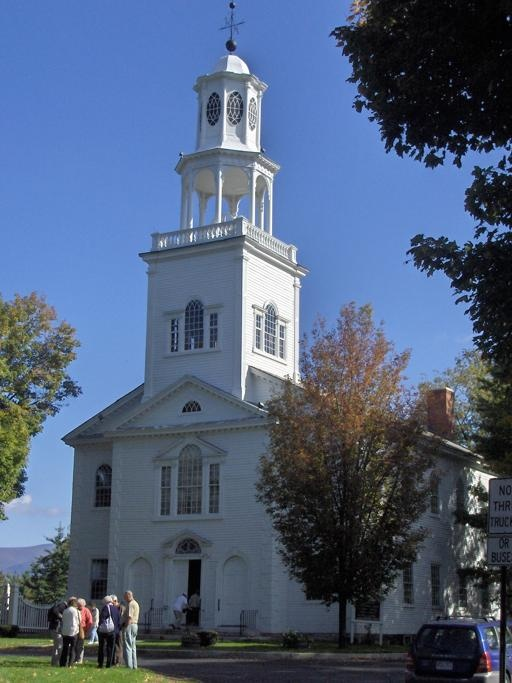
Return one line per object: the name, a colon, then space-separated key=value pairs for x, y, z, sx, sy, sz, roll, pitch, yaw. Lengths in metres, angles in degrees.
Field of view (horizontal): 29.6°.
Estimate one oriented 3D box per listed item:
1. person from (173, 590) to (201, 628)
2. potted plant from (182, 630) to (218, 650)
person: x=-2.361 y=9.456 z=34.271 sx=1.084 sy=1.353 sz=0.761 roll=-10 pitch=-28 yaw=28
potted plant: x=-1.584 y=8.487 z=27.712 sx=0.972 sy=0.434 sz=1.115 roll=2 pitch=-17 yaw=-5
